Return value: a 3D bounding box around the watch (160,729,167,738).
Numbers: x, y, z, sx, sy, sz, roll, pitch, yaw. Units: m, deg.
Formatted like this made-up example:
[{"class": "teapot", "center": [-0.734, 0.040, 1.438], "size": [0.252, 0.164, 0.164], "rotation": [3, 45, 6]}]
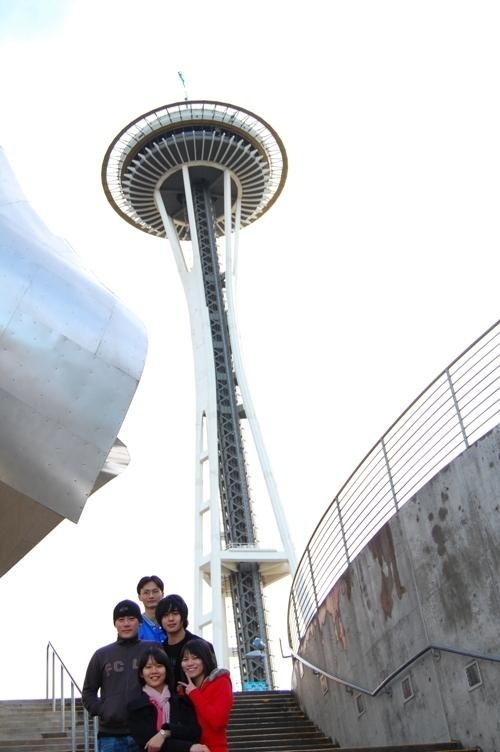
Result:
[{"class": "watch", "center": [-0.389, 1.598, 2.709], "size": [0.033, 0.023, 0.034], "rotation": [23, -42, 29]}]
